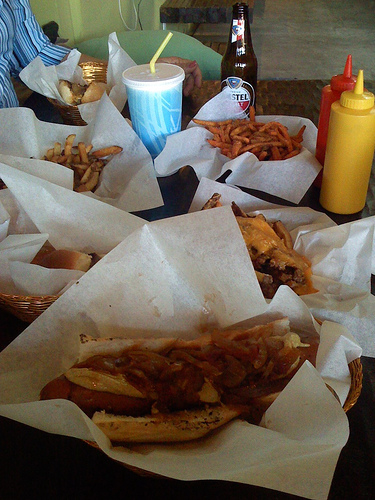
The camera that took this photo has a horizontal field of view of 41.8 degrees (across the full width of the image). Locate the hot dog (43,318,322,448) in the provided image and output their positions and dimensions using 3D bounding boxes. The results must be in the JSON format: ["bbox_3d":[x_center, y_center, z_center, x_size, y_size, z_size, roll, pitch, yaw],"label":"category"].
[{"bbox_3d":[-0.001,0.130,0.491,0.255,0.064,0.111,-3,16,-4],"label":"hot dog"}]

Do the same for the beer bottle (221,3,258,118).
[{"bbox_3d":[0.108,-0.384,0.994,0.067,0.191,0.129,0,25,6],"label":"beer bottle"}]

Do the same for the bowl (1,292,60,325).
[{"bbox_3d":[-0.181,0.068,0.554,0.050,0.050,0.018,-13,62,41],"label":"bowl"}]
